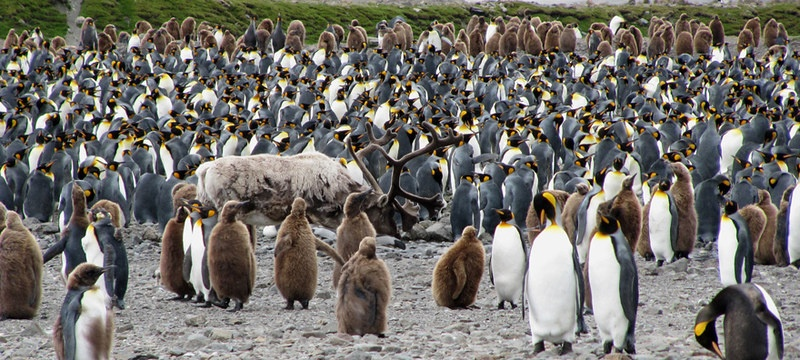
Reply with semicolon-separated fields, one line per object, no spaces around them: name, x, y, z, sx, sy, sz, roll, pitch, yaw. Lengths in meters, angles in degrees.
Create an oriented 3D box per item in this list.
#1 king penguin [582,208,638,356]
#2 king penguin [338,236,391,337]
king penguin;7.256;3.346;34.923;1.986;4.607;1.509;3;-2;13
king penguin;-0.981;3.553;35.178;1.860;3.513;1.435;1;1;29
